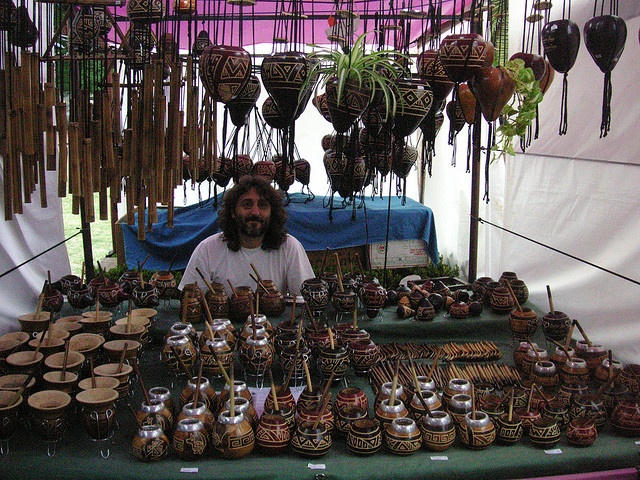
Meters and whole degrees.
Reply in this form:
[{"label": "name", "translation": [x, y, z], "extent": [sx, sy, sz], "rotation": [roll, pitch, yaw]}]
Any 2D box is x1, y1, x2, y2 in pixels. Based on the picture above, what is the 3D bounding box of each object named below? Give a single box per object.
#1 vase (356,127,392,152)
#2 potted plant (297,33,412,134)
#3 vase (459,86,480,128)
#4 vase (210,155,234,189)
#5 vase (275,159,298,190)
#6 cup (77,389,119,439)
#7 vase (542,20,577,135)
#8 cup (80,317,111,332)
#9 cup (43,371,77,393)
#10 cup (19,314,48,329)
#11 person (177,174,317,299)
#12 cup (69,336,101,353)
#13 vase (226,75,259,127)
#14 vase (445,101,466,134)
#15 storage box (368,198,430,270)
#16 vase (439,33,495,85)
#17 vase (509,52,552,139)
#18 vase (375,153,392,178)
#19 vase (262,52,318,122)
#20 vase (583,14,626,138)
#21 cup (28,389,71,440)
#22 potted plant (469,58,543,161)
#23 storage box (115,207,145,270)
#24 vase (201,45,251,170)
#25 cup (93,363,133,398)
[{"label": "vase", "translation": [0.299, -0.569, 3.300], "extent": [0.177, 0.196, 0.196], "rotation": [2, 25, 1]}, {"label": "potted plant", "translation": [0.152, -0.778, 2.861], "extent": [0.512, 0.471, 0.487], "rotation": [0, 14, 5]}, {"label": "vase", "translation": [0.782, -0.739, 3.121], "extent": [0.087, 0.216, 0.183], "rotation": [2, 14, 13]}, {"label": "vase", "translation": [-0.784, -0.569, 4.746], "extent": [0.217, 0.260, 0.278], "rotation": [2, -3, -4]}, {"label": "vase", "translation": [-0.281, -0.550, 4.779], "extent": [0.201, 0.261, 0.192], "rotation": [-1, -4, 8]}, {"label": "cup", "translation": [-0.879, 0.683, 2.408], "extent": [0.157, 0.213, 0.182], "rotation": [4, 9, 10]}, {"label": "vase", "translation": [1.316, -0.907, 3.247], "extent": [0.182, 0.618, 0.500], "rotation": [4, 15, 22]}, {"label": "cup", "translation": [-1.089, 0.408, 2.844], "extent": [0.141, 0.082, 0.084], "rotation": [-7, 15, -21]}, {"label": "cup", "translation": [-1.082, 0.573, 2.428], "extent": [0.094, 0.081, 0.101], "rotation": [10, 13, -2]}, {"label": "cup", "translation": [-1.364, 0.368, 2.818], "extent": [0.096, 0.052, 0.109], "rotation": [1, -2, 0]}, {"label": "person", "translation": [-0.447, 0.057, 3.785], "extent": [0.844, 0.993, 0.489], "rotation": [0, 6, -15]}, {"label": "cup", "translation": [-1.059, 0.464, 2.657], "extent": [0.145, 0.057, 0.104], "rotation": [-10, 17, -29]}, {"label": "vase", "translation": [-0.409, -0.737, 2.964], "extent": [0.149, 0.247, 0.155], "rotation": [4, 18, -24]}, {"label": "vase", "translation": [0.813, -0.746, 3.582], "extent": [0.111, 0.181, 0.107], "rotation": [-17, 0, -3]}, {"label": "storage box", "translation": [0.887, -0.084, 6.004], "extent": [0.642, 0.543, 0.698], "rotation": [0, 4, -4]}, {"label": "vase", "translation": [0.666, -0.893, 2.878], "extent": [0.286, 0.247, 0.306], "rotation": [1, 24, 31]}, {"label": "vase", "translation": [1.184, -0.820, 3.262], "extent": [0.221, 0.495, 0.226], "rotation": [-1, 2, 12]}, {"label": "vase", "translation": [0.376, -0.457, 3.447], "extent": [0.125, 0.167, 0.136], "rotation": [0, 10, -2]}, {"label": "vase", "translation": [-0.179, -0.762, 2.850], "extent": [0.246, 0.372, 0.251], "rotation": [-6, 17, -32]}, {"label": "vase", "translation": [1.452, -0.847, 2.993], "extent": [0.193, 0.625, 0.396], "rotation": [10, 17, 40]}, {"label": "cup", "translation": [-1.073, 0.705, 2.324], "extent": [0.146, 0.163, 0.155], "rotation": [8, 7, -1]}, {"label": "potted plant", "translation": [0.987, -0.767, 3.217], "extent": [0.321, 0.512, 0.334], "rotation": [20, 19, 18]}, {"label": "storage box", "translation": [-1.550, 0.000, 4.795], "extent": [0.278, 0.418, 0.548], "rotation": [-1, 11, -7]}, {"label": "vase", "translation": [-0.424, -0.767, 2.785], "extent": [0.218, 0.655, 0.257], "rotation": [4, 12, -5]}, {"label": "cup", "translation": [-0.889, 0.581, 2.515], "extent": [0.131, 0.116, 0.144], "rotation": [1, 1, 0]}]
